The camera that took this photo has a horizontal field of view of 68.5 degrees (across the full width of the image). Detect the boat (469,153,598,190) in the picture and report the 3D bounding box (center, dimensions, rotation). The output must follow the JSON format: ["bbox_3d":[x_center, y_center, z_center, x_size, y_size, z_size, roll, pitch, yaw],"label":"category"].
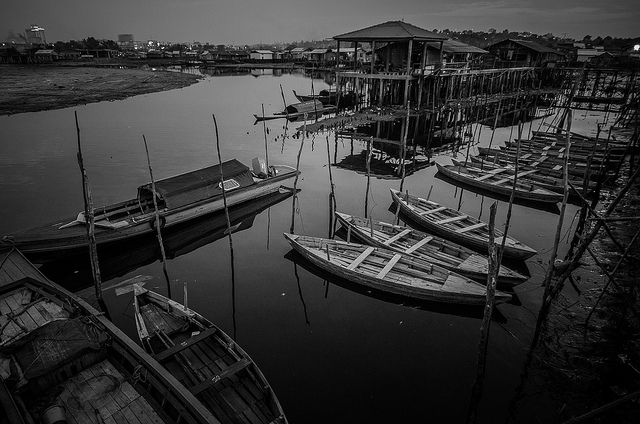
[{"bbox_3d":[14.323,-2.627,31.539,5.670,0.795,1.187,24,50,33],"label":"boat"}]

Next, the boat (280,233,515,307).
[{"bbox_3d":[3.393,2.997,23.948,9.402,1.496,1.927,11,29,19],"label":"boat"}]
